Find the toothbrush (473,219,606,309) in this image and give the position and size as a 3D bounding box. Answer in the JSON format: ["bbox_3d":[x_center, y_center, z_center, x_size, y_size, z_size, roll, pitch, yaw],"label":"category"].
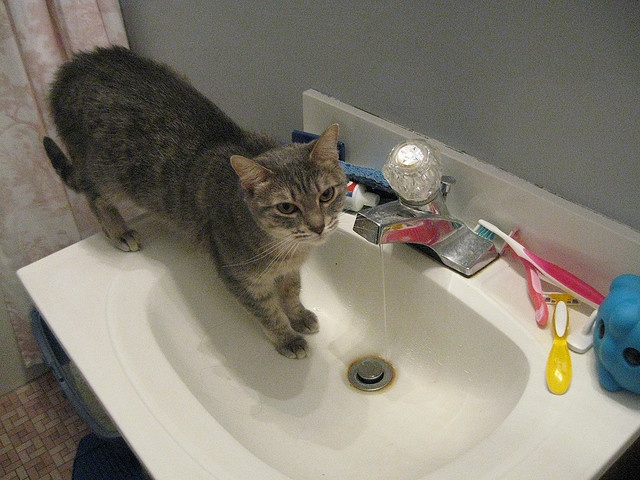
[{"bbox_3d":[0.429,0.050,1.093,0.222,0.026,0.037,45,101,19],"label":"toothbrush"}]
